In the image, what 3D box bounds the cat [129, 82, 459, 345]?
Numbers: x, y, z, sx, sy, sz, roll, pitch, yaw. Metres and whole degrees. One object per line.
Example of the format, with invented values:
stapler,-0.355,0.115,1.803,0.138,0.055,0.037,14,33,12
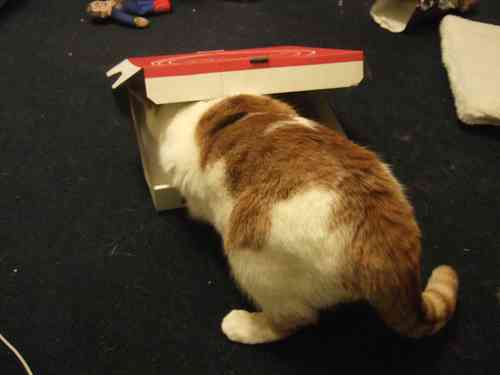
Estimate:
cat,0.177,0.279,2.725,0.879,0.730,1.437,-30,59,-24
